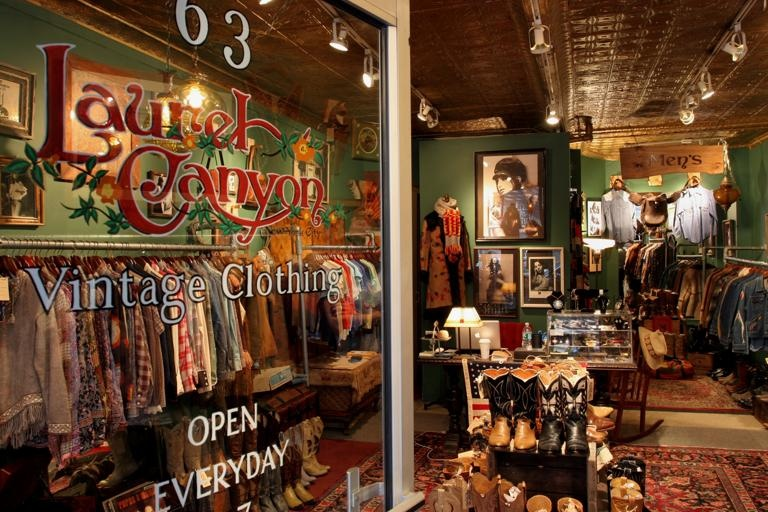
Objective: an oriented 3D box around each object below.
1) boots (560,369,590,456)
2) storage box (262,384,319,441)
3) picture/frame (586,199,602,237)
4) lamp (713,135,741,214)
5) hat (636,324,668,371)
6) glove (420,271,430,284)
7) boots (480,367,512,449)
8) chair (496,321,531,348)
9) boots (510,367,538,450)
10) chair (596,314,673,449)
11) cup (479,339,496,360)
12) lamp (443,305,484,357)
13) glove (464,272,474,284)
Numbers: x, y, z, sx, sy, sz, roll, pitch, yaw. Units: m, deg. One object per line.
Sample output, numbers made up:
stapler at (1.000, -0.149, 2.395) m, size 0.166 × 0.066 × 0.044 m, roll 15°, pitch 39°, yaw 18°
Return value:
boots at (1.121, 0.915, 3.224) m, size 0.135 × 0.286 × 0.225 m, roll -3°, pitch 1°, yaw 17°
storage box at (-0.224, 0.386, 1.341) m, size 0.097 × 0.093 × 0.147 m, roll -5°, pitch -1°, yaw 24°
picture/frame at (4.301, -0.774, 11.280) m, size 0.307 × 0.753 × 0.195 m, roll -3°, pitch 1°, yaw 13°
lamp at (5.076, -1.272, 8.191) m, size 0.309 × 1.177 × 3.041 m, roll -2°, pitch 1°, yaw 32°
hat at (2.744, 0.969, 5.638) m, size 0.249 × 0.429 × 0.409 m, roll -3°, pitch 1°, yaw 24°
glove at (0.510, 0.264, 6.860) m, size 0.104 × 0.141 × 0.060 m, roll -1°, pitch 5°, yaw -1°
boots at (0.716, 0.933, 3.440) m, size 0.163 × 0.317 × 0.404 m, roll -3°, pitch 1°, yaw 12°
chair at (1.468, 0.910, 6.448) m, size 0.426 × 0.402 × 0.314 m, roll 1°, pitch -6°, yaw -7°
boots at (0.862, 0.926, 3.355) m, size 0.165 × 0.315 × 0.324 m, roll -3°, pitch 1°, yaw 14°
chair at (2.952, 1.202, 6.039) m, size 1.080 × 1.338 × 1.366 m, roll 0°, pitch -2°, yaw 16°
cup at (0.979, 0.906, 5.314) m, size 0.169 × 0.206 × 0.163 m, roll -1°, pitch 0°, yaw 0°
lamp at (0.731, 0.749, 5.643) m, size 0.441 × 0.625 × 0.426 m, roll 1°, pitch -6°, yaw 3°
glove at (1.057, 0.282, 6.909) m, size 0.140 × 0.115 × 0.139 m, roll -5°, pitch -1°, yaw 1°
